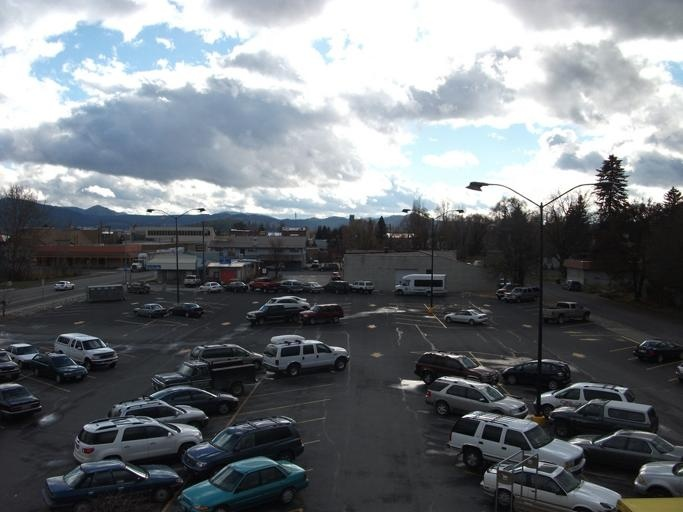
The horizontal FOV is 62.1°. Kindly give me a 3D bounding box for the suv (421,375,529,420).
[{"bbox_3d":[6.706,7.506,29.109,5.111,1.866,2.318,-1,-1,38],"label":"suv"}]

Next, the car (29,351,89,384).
[{"bbox_3d":[-17.922,6.988,35.847,3.594,1.203,1.681,4,4,37],"label":"car"}]

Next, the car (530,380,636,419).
[{"bbox_3d":[12.648,7.203,29.527,4.133,1.770,2.050,2,0,20],"label":"car"}]

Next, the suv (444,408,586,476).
[{"bbox_3d":[7.016,8.337,24.506,6.063,2.212,2.803,-1,-1,41],"label":"suv"}]

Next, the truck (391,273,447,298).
[{"bbox_3d":[9.991,3.701,71.734,6.523,2.901,2.682,1,3,10],"label":"truck"}]

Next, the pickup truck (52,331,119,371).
[{"bbox_3d":[-17.329,6.338,39.100,4.527,1.822,2.241,7,6,33],"label":"pickup truck"}]

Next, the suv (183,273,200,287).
[{"bbox_3d":[-21.406,3.425,82.062,1.280,1.391,2.648,1,9,4],"label":"suv"}]

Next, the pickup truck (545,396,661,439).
[{"bbox_3d":[12.603,7.690,27.623,4.240,1.680,2.118,1,1,21],"label":"pickup truck"}]

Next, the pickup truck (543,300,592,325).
[{"bbox_3d":[21.039,5.308,53.515,4.317,1.557,2.070,-3,4,-23],"label":"pickup truck"}]

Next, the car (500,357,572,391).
[{"bbox_3d":[12.076,7.198,34.834,3.534,1.595,2.076,4,2,20],"label":"car"}]
